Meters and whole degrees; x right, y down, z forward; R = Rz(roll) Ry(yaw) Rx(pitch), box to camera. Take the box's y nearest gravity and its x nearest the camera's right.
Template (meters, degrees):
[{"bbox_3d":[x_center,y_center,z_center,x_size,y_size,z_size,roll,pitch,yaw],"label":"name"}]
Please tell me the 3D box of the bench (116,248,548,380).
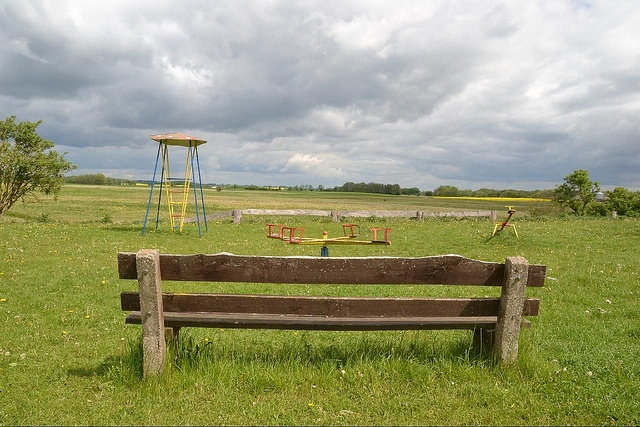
[{"bbox_3d":[0.156,1.813,8.443,6.946,2.284,0.357,0,4,-1],"label":"bench"}]
